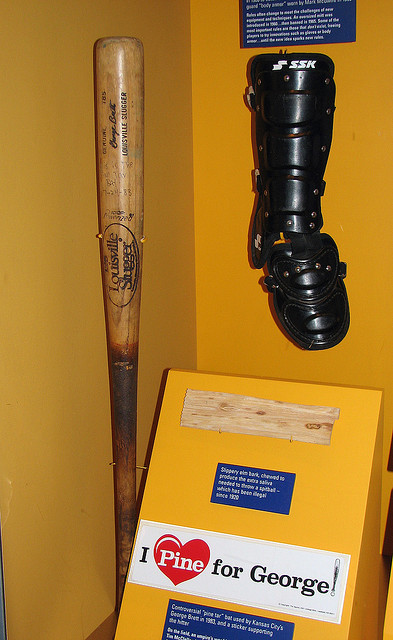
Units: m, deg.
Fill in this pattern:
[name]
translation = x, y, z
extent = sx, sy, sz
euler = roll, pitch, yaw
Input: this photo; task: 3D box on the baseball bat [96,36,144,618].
[baseball bat]
translation = -0.168, 0.064, 1.352
extent = 0.151, 1.393, 0.195
euler = -5, 18, -30
